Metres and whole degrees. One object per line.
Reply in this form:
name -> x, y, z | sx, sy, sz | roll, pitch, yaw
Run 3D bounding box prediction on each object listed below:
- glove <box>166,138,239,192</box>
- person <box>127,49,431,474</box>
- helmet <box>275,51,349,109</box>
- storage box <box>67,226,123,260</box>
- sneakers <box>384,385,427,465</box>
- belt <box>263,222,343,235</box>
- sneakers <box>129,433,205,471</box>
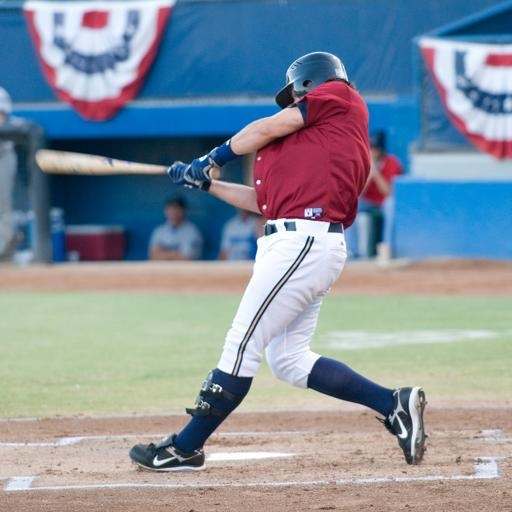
glove -> -0.209, -0.371, 4.729 | 0.237, 0.062, 0.216 | -15, -29, 2
person -> 0.110, 0.092, 4.693 | 1.114, 1.519, 0.320 | 0, 12, -3
helmet -> 0.237, -0.720, 4.777 | 0.251, 0.161, 0.296 | -6, 2, -35
storage box -> -0.741, -0.062, 5.596 | 0.270, 0.156, 0.148 | -1, 11, -7
sneakers -> 0.591, 0.642, 4.780 | 0.192, 0.311, 0.120 | -12, 14, 6
belt -> 0.185, -0.108, 4.598 | 0.302, 0.075, 0.127 | 0, 10, 0
sneakers -> -0.360, 0.777, 4.810 | 0.358, 0.137, 0.118 | 4, -1, 0
